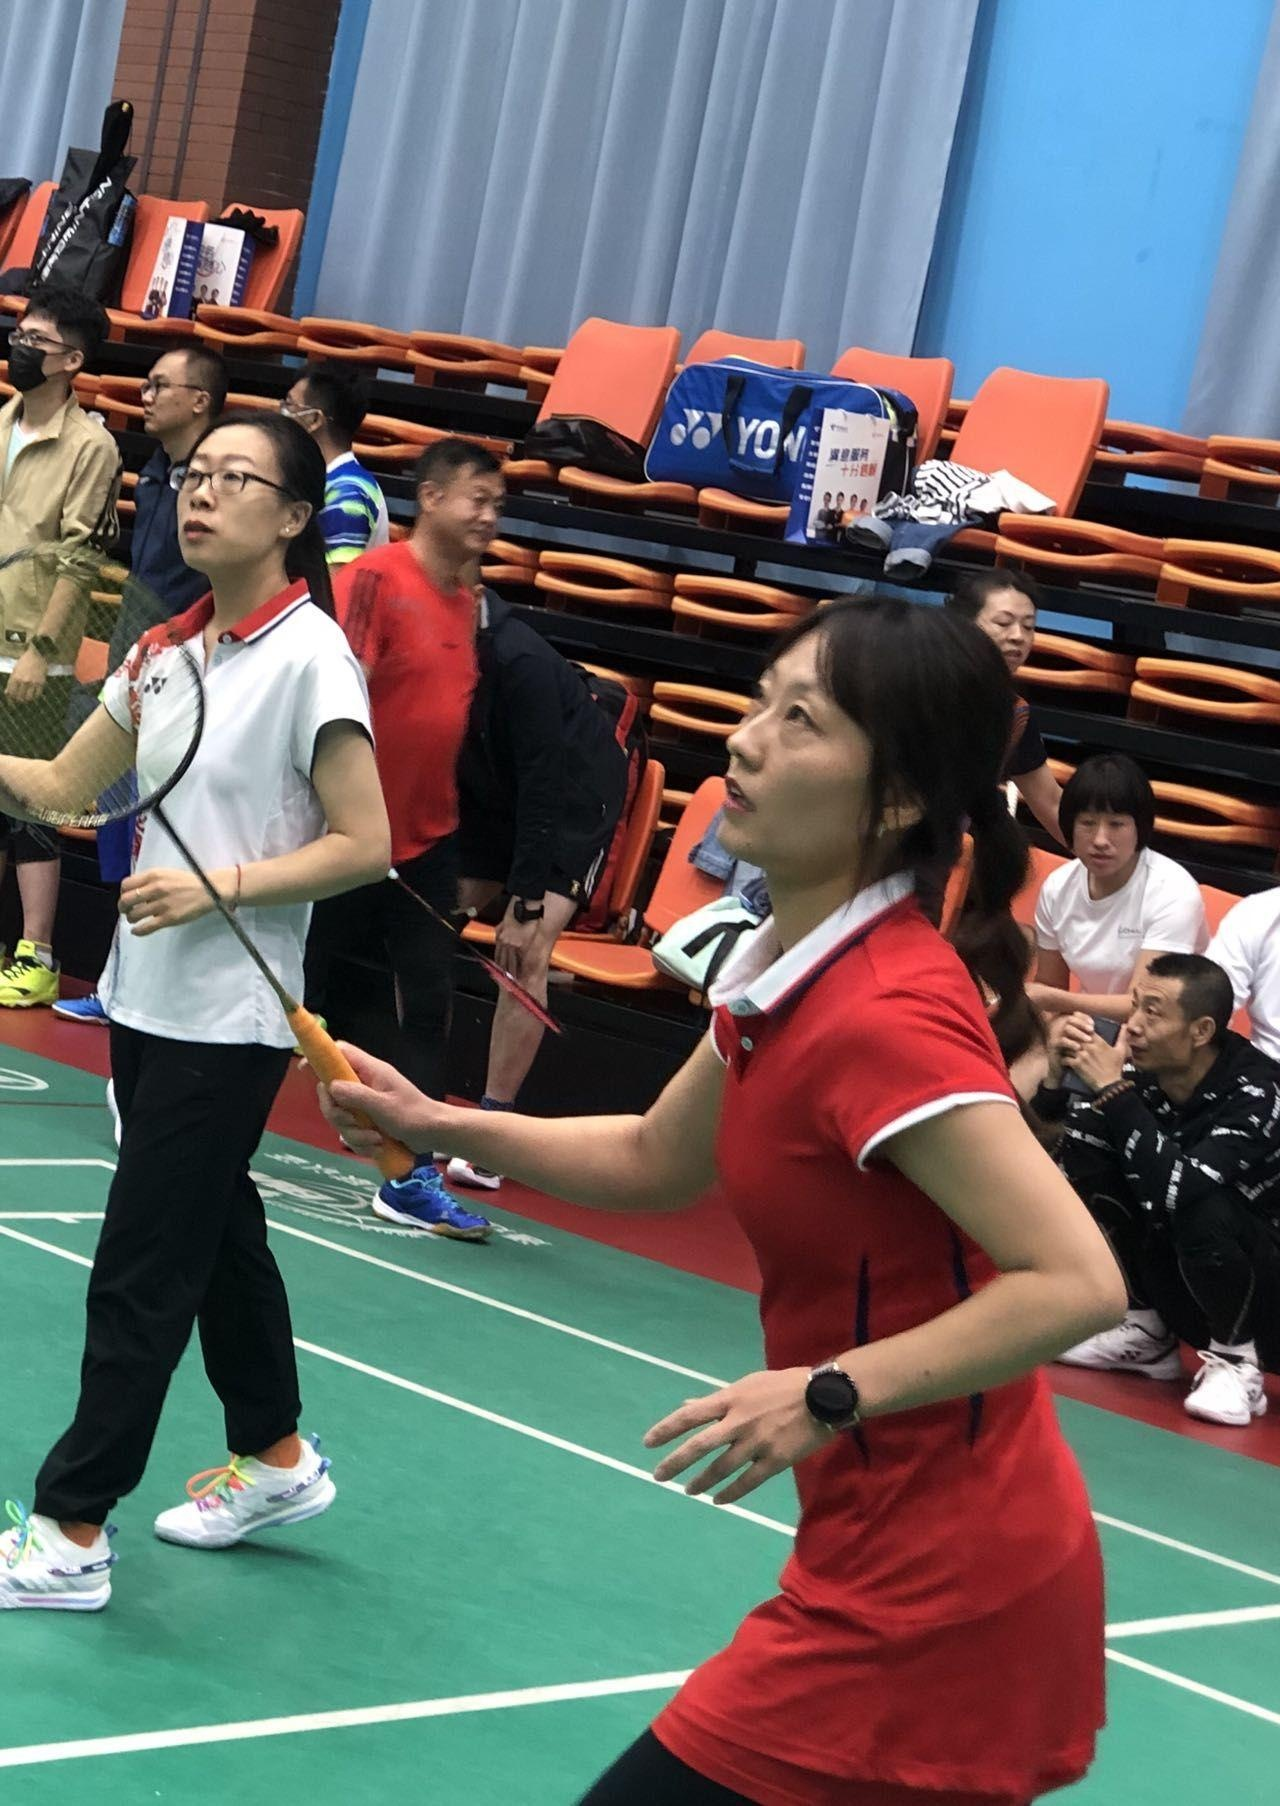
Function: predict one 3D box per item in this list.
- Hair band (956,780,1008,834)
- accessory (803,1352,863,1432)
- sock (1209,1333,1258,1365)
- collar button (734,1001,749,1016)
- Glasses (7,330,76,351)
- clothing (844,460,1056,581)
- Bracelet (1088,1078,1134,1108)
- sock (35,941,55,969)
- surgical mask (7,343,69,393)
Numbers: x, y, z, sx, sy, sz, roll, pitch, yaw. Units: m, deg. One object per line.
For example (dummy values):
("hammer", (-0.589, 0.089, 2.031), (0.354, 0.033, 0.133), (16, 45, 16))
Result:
("Hair band", (0.248, -0.070, 1.006), (0.036, 0.043, 0.017), (-4, 13, -14))
("accessory", (0.114, 0.283, 0.813), (0.042, 0.033, 0.040), (55, -2, 21))
("sock", (2.049, 1.530, 4.788), (0.141, 0.072, 0.084), (-13, 0, 10))
("collar button", (0.070, 0.071, 0.935), (0.012, 0.010, 0.003), (0, -24, 20))
("Glasses", (-2.688, -2.541, 6.278), (0.168, 0.048, 0.173), (16, 8, 38))
("clothing", (1.471, -1.860, 6.783), (0.776, 0.213, 0.694), (-34, 30, -26))
("Bracelet", (1.661, 0.663, 4.877), (0.123, 0.040, 0.099), (-31, -3, -13))
("sock", (-2.979, 0.268, 6.995), (0.082, 0.099, 0.107), (-3, -16, 5))
("surgical mask", (-2.729, -2.443, 6.397), (0.251, 0.175, 0.286), (19, 6, 42))
